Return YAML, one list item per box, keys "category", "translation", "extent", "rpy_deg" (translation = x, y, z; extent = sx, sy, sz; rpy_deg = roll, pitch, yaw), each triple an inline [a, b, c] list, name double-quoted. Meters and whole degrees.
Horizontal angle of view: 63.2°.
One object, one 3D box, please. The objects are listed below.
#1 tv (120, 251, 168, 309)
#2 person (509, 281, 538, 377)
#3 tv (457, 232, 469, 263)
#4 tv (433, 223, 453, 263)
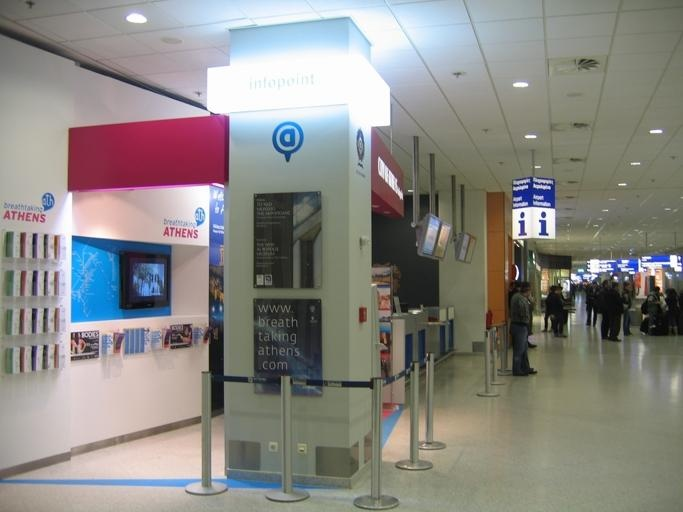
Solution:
- category: "tv"
  translation: [-2.535, 0.306, 7.028]
  extent: [0.073, 0.631, 0.710]
  rpy_deg: [0, -2, 22]
- category: "person"
  translation: [3.482, 1.405, 10.729]
  extent: [0.422, 1.761, 1.206]
  rpy_deg: [-4, -5, 19]
- category: "tv"
  translation: [2.668, -0.171, 12.157]
  extent: [0.205, 0.640, 0.513]
  rpy_deg: [9, 15, 13]
- category: "tv"
  translation: [1.924, -0.286, 10.447]
  extent: [0.169, 0.621, 0.652]
  rpy_deg: [12, -18, 12]
